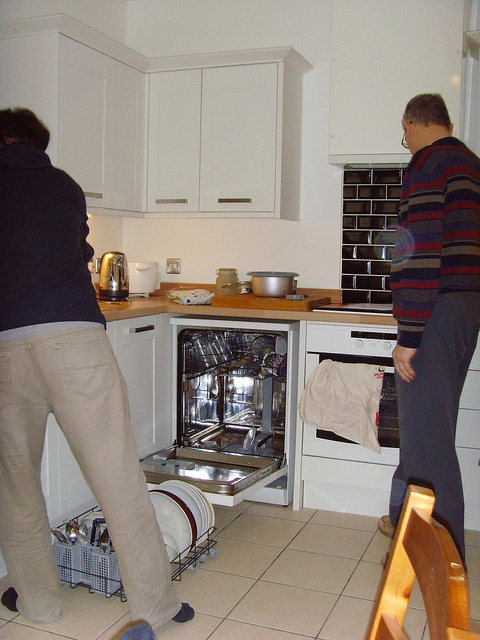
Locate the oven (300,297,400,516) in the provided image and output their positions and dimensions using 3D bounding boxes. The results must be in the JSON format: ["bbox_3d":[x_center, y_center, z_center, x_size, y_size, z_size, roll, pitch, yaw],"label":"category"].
[{"bbox_3d":[0.555,0.472,2.594,0.502,0.968,0.496,4,2,1],"label":"oven"}]

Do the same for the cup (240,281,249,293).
[{"bbox_3d":[0.022,-0.203,2.974,0.055,0.056,0.055,0,-1,0],"label":"cup"}]

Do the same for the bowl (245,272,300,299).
[{"bbox_3d":[0.177,-0.189,2.705,0.243,0.136,0.150,1,2,0],"label":"bowl"}]

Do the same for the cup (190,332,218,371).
[{"bbox_3d":[-0.203,0.173,2.795,0.119,0.227,0.054,-21,5,5],"label":"cup"}]

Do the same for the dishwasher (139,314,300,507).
[{"bbox_3d":[-0.111,0.462,2.488,0.719,0.960,0.584,2,2,27],"label":"dishwasher"}]

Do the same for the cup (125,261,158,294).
[{"bbox_3d":[-0.612,-0.257,3.073,0.147,0.148,0.195,1,12,3],"label":"cup"}]
